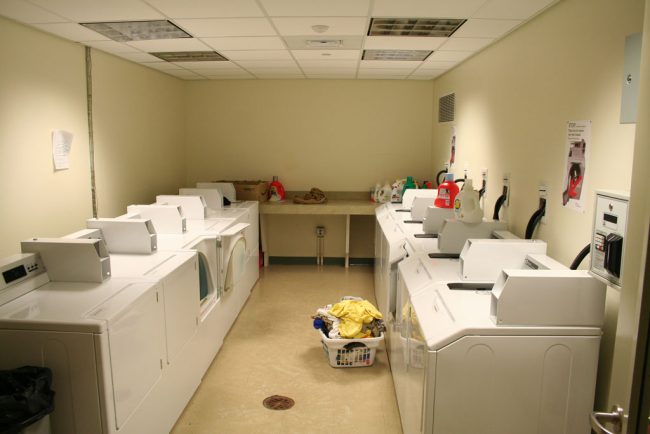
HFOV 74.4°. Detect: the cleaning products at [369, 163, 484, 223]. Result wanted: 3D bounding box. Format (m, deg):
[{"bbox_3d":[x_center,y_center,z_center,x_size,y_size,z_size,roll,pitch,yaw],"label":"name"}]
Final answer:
[{"bbox_3d":[0.988,-0.202,4.176,1.350,0.496,0.385,0,10,7],"label":"cleaning products"}]
